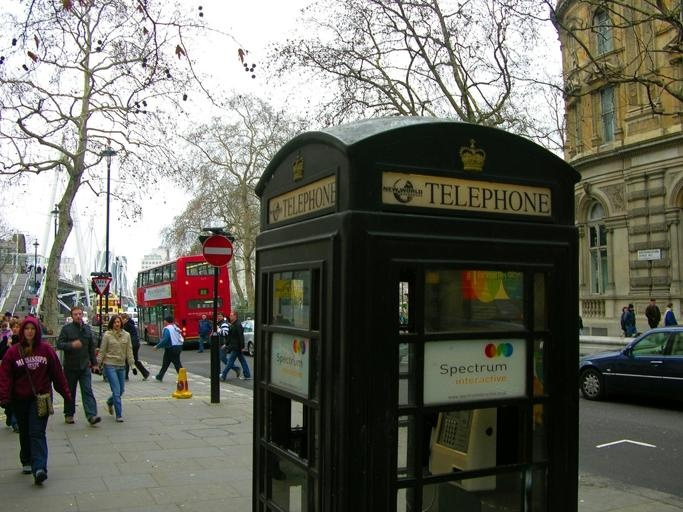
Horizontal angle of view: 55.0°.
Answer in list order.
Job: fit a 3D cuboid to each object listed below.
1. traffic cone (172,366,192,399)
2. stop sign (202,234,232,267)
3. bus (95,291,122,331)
[{"bbox_3d":[-3.421,2.763,14.124,0.527,0.724,0.565,-1,-2,-10],"label":"traffic cone"},{"bbox_3d":[-2.421,-0.130,12.743,0.619,0.832,0.099,4,-15,-26],"label":"stop sign"},{"bbox_3d":[-20.202,4.551,56.184,1.322,2.839,4.794,4,-7,7],"label":"bus"}]
